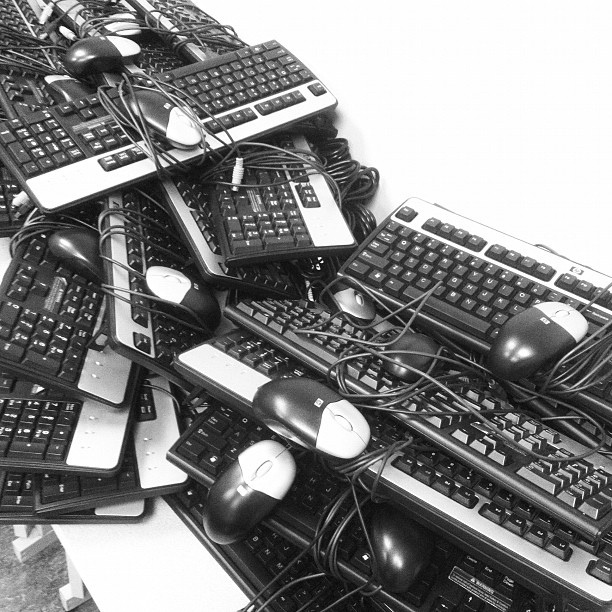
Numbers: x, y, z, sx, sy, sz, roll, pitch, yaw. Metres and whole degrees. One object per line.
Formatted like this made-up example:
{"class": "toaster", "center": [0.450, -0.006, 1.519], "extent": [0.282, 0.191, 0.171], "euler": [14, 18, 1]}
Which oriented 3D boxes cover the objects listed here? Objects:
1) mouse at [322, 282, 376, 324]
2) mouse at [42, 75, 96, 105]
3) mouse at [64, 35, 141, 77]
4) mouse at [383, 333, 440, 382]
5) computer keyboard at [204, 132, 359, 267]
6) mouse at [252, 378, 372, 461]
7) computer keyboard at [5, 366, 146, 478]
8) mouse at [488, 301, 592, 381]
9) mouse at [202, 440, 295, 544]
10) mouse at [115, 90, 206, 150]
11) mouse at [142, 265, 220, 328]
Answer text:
{"class": "mouse", "center": [0.060, -0.008, 0.837], "extent": [0.043, 0.022, 0.072], "euler": [28, 4, -45]}
{"class": "mouse", "center": [-0.384, -0.335, 0.963], "extent": [0.097, 0.052, 0.025], "euler": [30, -51, 18]}
{"class": "mouse", "center": [-0.321, -0.386, 0.941], "extent": [0.040, 0.130, 0.049], "euler": [103, -28, -66]}
{"class": "mouse", "center": [0.124, 0.067, 0.718], "extent": [0.084, 0.060, 0.019], "euler": [-31, 111, -77]}
{"class": "computer keyboard", "center": [-0.042, -0.117, 0.847], "extent": [0.273, 0.210, 0.037], "euler": [-111, -159, -43]}
{"class": "mouse", "center": [0.005, 0.107, 0.627], "extent": [0.127, 0.063, 0.033], "euler": [22, -43, 30]}
{"class": "computer keyboard", "center": [-0.275, 0.142, 0.722], "extent": [0.182, 0.159, 0.018], "euler": [-90, -168, -52]}
{"class": "mouse", "center": [0.260, 0.027, 0.672], "extent": [0.068, 0.128, 0.036], "euler": [48, -24, 26]}
{"class": "mouse", "center": [-0.050, 0.200, 0.678], "extent": [0.074, 0.126, 0.041], "euler": [47, -1, 5]}
{"class": "mouse", "center": [-0.201, -0.245, 0.853], "extent": [0.124, 0.067, 0.029], "euler": [33, -27, 12]}
{"class": "mouse", "center": [-0.165, -0.010, 0.792], "extent": [0.108, 0.035, 0.058], "euler": [21, 38, -42]}
